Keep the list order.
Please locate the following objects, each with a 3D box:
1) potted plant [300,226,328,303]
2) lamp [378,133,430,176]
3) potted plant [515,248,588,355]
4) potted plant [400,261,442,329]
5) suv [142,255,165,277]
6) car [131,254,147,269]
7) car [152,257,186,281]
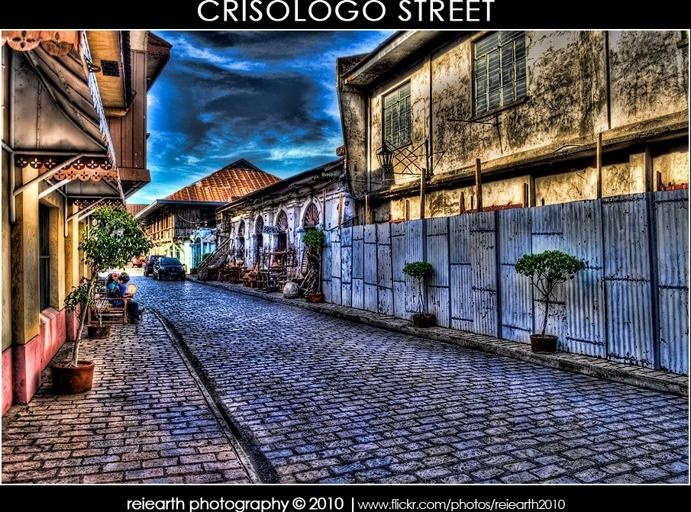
[{"bbox_3d":[-1.313,0.327,21.298,0.958,2.687,1.927,-1,3,-5],"label":"potted plant"},{"bbox_3d":[1.887,-3.160,17.326,1.634,1.167,0.329,0,-3,-6],"label":"lamp"},{"bbox_3d":[3.892,0.857,10.345,1.134,1.958,1.046,2,4,34],"label":"potted plant"},{"bbox_3d":[1.879,0.950,13.893,0.731,1.628,1.160,-2,4,-22],"label":"potted plant"},{"bbox_3d":[-15.152,0.804,41.824,1.388,1.534,2.904,0,4,-15],"label":"suv"},{"bbox_3d":[-14.570,0.478,38.243,1.230,0.771,2.333,3,-7,-37],"label":"car"},{"bbox_3d":[-12.073,0.854,36.707,1.550,1.406,2.728,-2,3,-32],"label":"car"}]
